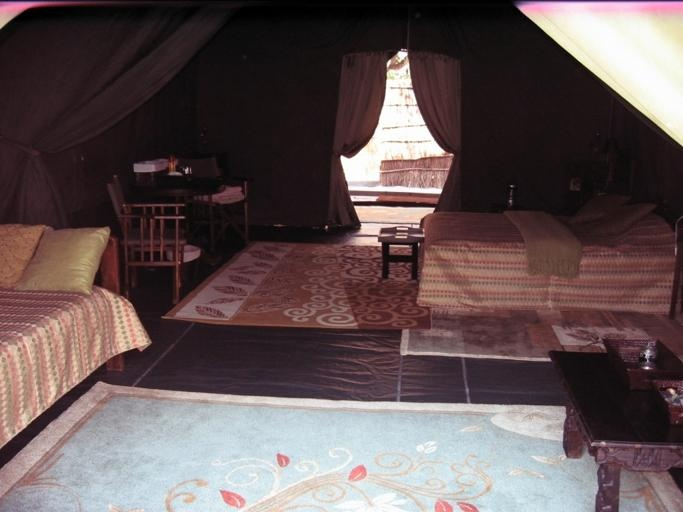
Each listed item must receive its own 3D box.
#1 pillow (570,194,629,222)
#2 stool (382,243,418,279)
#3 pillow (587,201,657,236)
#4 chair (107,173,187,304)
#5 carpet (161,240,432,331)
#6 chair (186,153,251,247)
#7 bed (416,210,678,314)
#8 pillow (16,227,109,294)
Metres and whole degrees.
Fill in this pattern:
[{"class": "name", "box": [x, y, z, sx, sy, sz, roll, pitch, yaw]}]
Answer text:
[{"class": "pillow", "box": [2.738, -0.514, 5.120, 0.429, 0.099, 0.424, -17, 13, 34]}, {"class": "stool", "box": [0.638, 0.012, 5.279, 0.393, 0.350, 0.386, 2, 16, 6]}, {"class": "pillow", "box": [2.626, -0.334, 4.545, 0.417, 0.109, 0.403, -18, 12, 40]}, {"class": "chair", "box": [-1.906, -0.135, 4.792, 0.867, 1.006, 0.758, 1, 3, 6]}, {"class": "carpet", "box": [-0.295, 0.223, 5.226, 2.295, 0.188, 2.569, -1, 18, 4]}, {"class": "chair", "box": [-1.672, -0.815, 6.725, 1.043, 1.088, 1.023, 1, 2, 2]}, {"class": "bed", "box": [1.873, 0.067, 4.447, 1.661, 0.586, 1.099, 3, 21, 5]}, {"class": "pillow", "box": [-1.866, 0.022, 3.244, 0.519, 0.338, 0.406, -1, 19, 7]}]
